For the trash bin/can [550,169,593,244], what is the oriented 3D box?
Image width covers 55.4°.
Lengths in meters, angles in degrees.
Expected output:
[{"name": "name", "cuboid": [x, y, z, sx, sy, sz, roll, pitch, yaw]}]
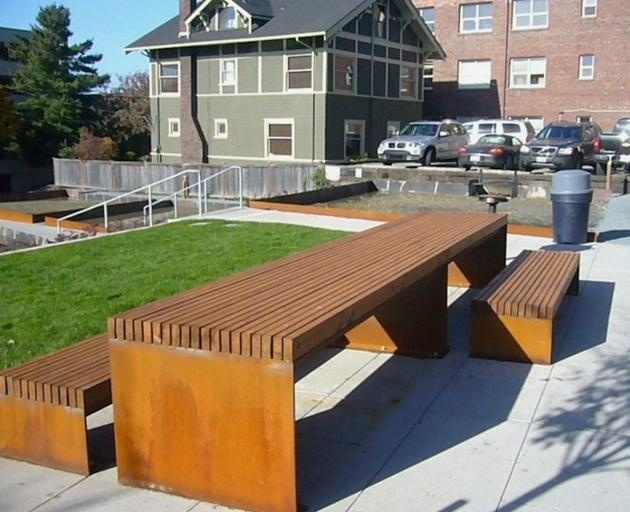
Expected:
[{"name": "trash bin/can", "cuboid": [4.454, -0.824, 10.395, 0.628, 1.308, 0.496, -1, 8, 25]}]

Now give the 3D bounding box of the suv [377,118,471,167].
[{"name": "suv", "cuboid": [4.525, -4.728, 25.183, 4.307, 1.857, 1.577, -14, 11, -42]}]
